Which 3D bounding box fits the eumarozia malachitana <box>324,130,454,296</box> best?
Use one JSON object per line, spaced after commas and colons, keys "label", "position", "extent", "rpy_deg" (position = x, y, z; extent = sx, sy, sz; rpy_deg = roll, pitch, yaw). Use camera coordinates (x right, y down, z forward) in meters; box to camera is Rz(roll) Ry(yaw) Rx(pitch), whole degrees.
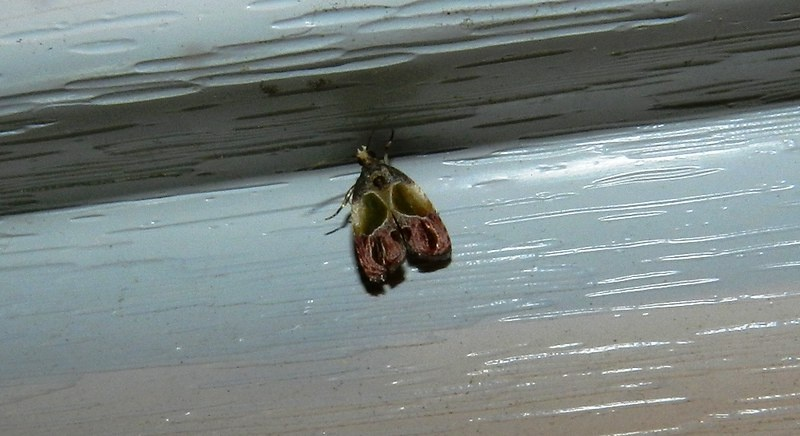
{"label": "eumarozia malachitana", "position": [-0.044, -0.022, 3.326], "extent": [0.353, 0.449, 0.201], "rpy_deg": [-4, -30, -4]}
